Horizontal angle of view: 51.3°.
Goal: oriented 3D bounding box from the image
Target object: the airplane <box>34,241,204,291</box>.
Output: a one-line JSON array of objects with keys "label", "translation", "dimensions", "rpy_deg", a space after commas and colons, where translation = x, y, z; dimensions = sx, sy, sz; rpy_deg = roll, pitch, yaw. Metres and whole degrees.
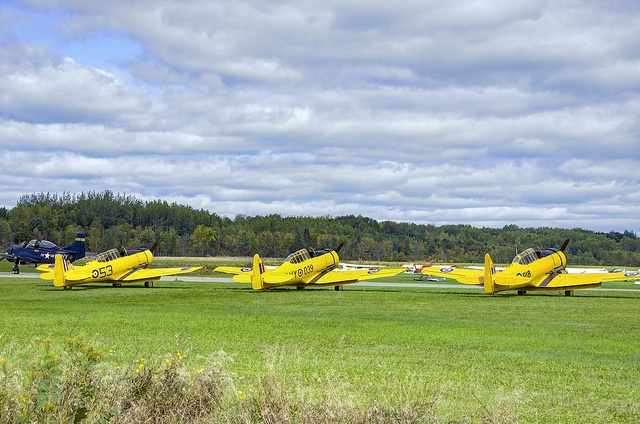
[{"label": "airplane", "translation": [-13.761, 3.582, 43.629], "dimensions": [7.946, 2.516, 5.391], "rpy_deg": [4, -5, -42]}]

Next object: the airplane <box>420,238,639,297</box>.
[{"label": "airplane", "translation": [12.612, 3.493, 39.716], "dimensions": [10.651, 2.741, 6.559], "rpy_deg": [0, -4, 12]}]

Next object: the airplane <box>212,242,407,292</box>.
[{"label": "airplane", "translation": [-0.635, 3.551, 42.711], "dimensions": [8.013, 2.683, 3.660], "rpy_deg": [2, -4, -18]}]
